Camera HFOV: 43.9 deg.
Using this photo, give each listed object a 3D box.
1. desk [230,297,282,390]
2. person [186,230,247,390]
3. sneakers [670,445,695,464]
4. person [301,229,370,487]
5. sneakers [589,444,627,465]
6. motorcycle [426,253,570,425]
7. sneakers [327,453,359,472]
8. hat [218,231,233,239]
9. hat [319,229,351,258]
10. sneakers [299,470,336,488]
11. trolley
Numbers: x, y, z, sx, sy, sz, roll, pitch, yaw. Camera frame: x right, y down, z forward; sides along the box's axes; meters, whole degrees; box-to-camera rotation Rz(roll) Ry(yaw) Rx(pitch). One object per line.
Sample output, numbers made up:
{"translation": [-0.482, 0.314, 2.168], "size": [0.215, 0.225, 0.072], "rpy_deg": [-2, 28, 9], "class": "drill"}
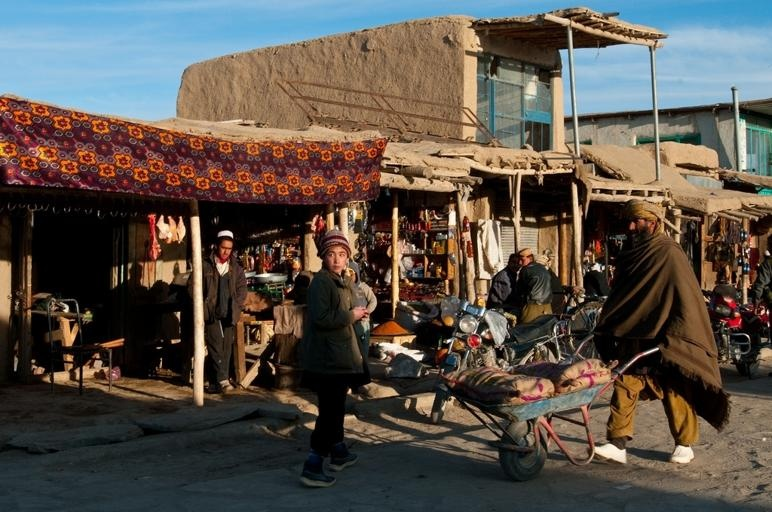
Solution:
{"translation": [-2.201, 1.562, 15.446], "size": [0.908, 1.087, 1.053], "rpy_deg": [-3, -10, 19], "class": "desk"}
{"translation": [-2.456, 0.845, 14.555], "size": [0.670, 2.409, 0.468], "rpy_deg": [-1, -1, -17], "class": "person"}
{"translation": [3.586, 2.349, 11.519], "size": [0.421, 0.216, 0.179], "rpy_deg": [0, -2, -39], "class": "sneakers"}
{"translation": [-0.619, 1.156, 11.092], "size": [0.804, 2.871, 0.498], "rpy_deg": [-1, -1, -7], "class": "person"}
{"translation": [2.631, 2.298, 11.269], "size": [0.477, 0.183, 0.177], "rpy_deg": [12, -6, -10], "class": "sneakers"}
{"translation": [1.583, 1.260, 13.632], "size": [2.196, 1.324, 1.225], "rpy_deg": [-10, 0, -23], "class": "motorcycle"}
{"translation": [-0.514, 2.407, 11.296], "size": [0.144, 0.144, 0.397], "rpy_deg": [4, 5, 45], "class": "sneakers"}
{"translation": [-2.387, -0.318, 14.467], "size": [0.192, 0.089, 0.187], "rpy_deg": [-2, 3, -45], "class": "hat"}
{"translation": [-0.640, -0.191, 11.207], "size": [0.315, 0.231, 0.322], "rpy_deg": [9, -33, -33], "class": "hat"}
{"translation": [-0.772, 2.475, 10.867], "size": [0.489, 0.203, 0.153], "rpy_deg": [2, 22, -22], "class": "sneakers"}
{"translation": [2.066, 1.821, 11.534], "size": [2.881, 1.304, 1.346], "rpy_deg": [0, -2, -41], "class": "trolley"}
